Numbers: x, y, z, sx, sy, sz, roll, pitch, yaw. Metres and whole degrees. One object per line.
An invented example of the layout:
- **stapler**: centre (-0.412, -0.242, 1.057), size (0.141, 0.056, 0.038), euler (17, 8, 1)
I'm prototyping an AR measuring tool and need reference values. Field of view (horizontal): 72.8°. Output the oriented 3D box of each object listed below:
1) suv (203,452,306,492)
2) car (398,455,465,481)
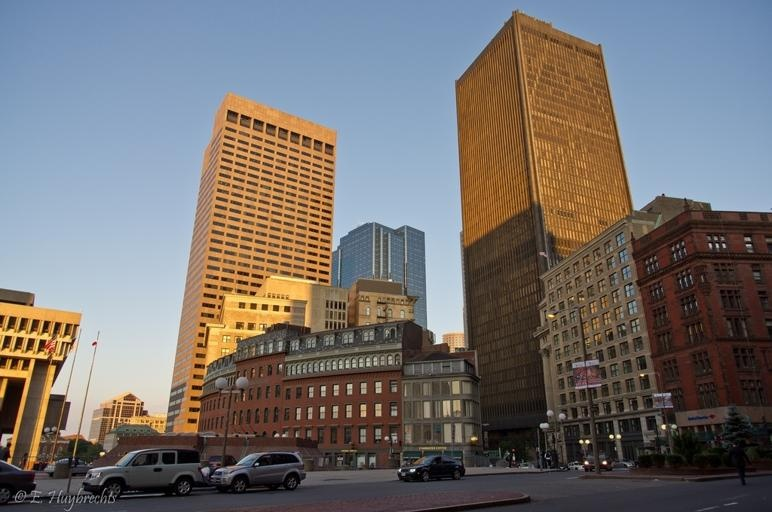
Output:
- **suv**: centre (-10.193, 17.444, 42.561), size (6.412, 2.934, 1.686), euler (11, -27, -28)
- **car**: centre (4.124, 20.137, 50.119), size (6.231, 1.763, 2.638), euler (13, -26, -27)
